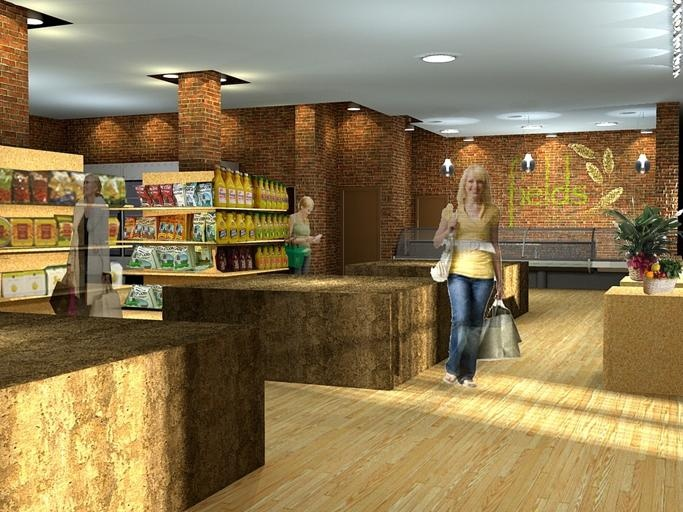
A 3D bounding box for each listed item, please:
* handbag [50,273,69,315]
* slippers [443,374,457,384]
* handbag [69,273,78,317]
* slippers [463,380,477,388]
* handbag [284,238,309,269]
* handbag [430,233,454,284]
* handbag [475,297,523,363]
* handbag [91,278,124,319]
[{"bbox_3d":[-2.580,0.358,4.199,0.119,0.316,0.255,0,0,-41],"label":"handbag"},{"bbox_3d":[0.965,1.080,4.107,0.132,0.085,0.078,0,0,20],"label":"slippers"},{"bbox_3d":[-2.431,0.329,4.140,0.088,0.370,0.163,0,0,-31],"label":"handbag"},{"bbox_3d":[1.122,1.104,4.033,0.061,0.029,0.093,0,-1,-34],"label":"slippers"},{"bbox_3d":[-0.761,-0.003,7.773,0.540,0.445,0.329,-2,2,-20],"label":"handbag"},{"bbox_3d":[0.829,0.023,3.736,0.094,0.325,0.267,12,19,22],"label":"handbag"},{"bbox_3d":[1.335,0.601,4.021,0.466,0.519,0.484,-9,5,-1],"label":"handbag"},{"bbox_3d":[-2.168,0.390,4.261,0.138,0.351,0.270,0,0,26],"label":"handbag"}]
